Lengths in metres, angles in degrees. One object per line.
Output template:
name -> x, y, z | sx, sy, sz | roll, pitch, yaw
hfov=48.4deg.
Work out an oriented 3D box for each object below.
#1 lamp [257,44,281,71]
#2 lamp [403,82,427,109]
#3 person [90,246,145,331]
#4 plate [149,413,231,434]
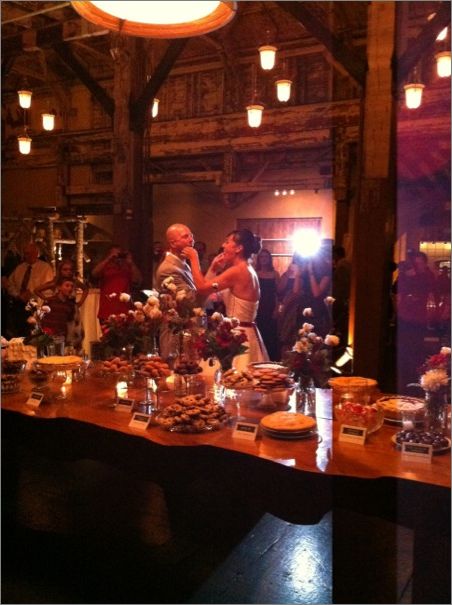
lamp -> 0.516, -3.019, 6.181 | 0.168, 0.300, 0.232 | -3, 14, 13
lamp -> 2.146, -2.362, 5.733 | 0.161, 0.266, 0.263 | -3, 14, 12
person -> -1.115, -0.149, 5.121 | 0.488, 0.792, 0.859 | -8, 14, -7
plate -> -0.130, 0.414, 1.746 | 0.254, 0.074, 0.117 | -5, 13, 2
